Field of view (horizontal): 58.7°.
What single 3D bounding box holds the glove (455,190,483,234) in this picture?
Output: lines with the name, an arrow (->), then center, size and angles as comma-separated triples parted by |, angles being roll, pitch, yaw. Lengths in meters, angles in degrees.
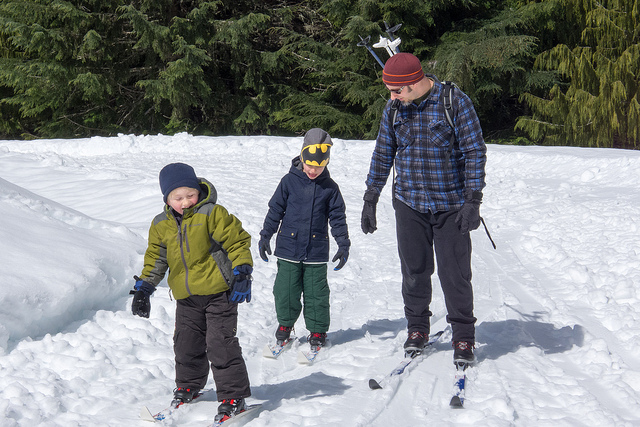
glove -> 1.521, -0.008, 5.843 | 0.252, 0.465, 0.203 | 2, 12, 12

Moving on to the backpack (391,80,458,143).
backpack -> 1.073, -0.949, 5.759 | 0.427, 0.649, 0.595 | 10, -30, 19

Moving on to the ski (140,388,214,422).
ski -> -1.333, 1.786, 5.350 | 0.729, 0.100, 0.197 | -11, 16, -41

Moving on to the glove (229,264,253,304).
glove -> -0.730, 0.650, 5.206 | 0.216, 0.379, 0.169 | -2, 12, -10

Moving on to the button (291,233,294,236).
button -> -0.311, 0.238, 6.363 | 0.031, 0.027, 0.010 | 3, 12, 12

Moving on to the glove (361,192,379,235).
glove -> 0.562, -0.026, 6.361 | 0.196, 0.172, 0.473 | 7, 50, -1

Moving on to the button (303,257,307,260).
button -> -0.163, 0.509, 6.352 | 0.028, 0.022, 0.006 | -3, 12, -16

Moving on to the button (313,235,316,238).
button -> -0.070, 0.257, 6.352 | 0.026, 0.027, 0.006 | -1, -2, -6

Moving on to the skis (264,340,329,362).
skis -> -0.282, 1.570, 6.289 | 0.464, 0.086, 0.261 | 2, 7, 9

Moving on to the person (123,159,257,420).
person -> -1.166, 0.686, 5.259 | 1.043, 2.263, 0.650 | 5, 12, 24

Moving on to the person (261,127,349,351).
person -> -0.170, 0.285, 6.449 | 0.990, 2.460, 0.623 | -1, 11, -3

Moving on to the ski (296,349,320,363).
ski -> -0.140, 1.578, 6.269 | 0.172, 0.099, 0.256 | 5, 13, 21

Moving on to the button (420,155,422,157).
button -> 1.057, -0.609, 5.959 | 0.018, 0.014, 0.019 | 5, 9, 28

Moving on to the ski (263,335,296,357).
ski -> -0.466, 1.516, 6.461 | 0.156, 0.096, 0.517 | 7, 14, 30

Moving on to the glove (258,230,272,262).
glove -> -0.618, 0.362, 6.293 | 0.195, 0.305, 0.088 | 13, -15, -9

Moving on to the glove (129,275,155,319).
glove -> -1.672, 0.783, 5.350 | 0.217, 0.427, 0.249 | -4, 12, -17
